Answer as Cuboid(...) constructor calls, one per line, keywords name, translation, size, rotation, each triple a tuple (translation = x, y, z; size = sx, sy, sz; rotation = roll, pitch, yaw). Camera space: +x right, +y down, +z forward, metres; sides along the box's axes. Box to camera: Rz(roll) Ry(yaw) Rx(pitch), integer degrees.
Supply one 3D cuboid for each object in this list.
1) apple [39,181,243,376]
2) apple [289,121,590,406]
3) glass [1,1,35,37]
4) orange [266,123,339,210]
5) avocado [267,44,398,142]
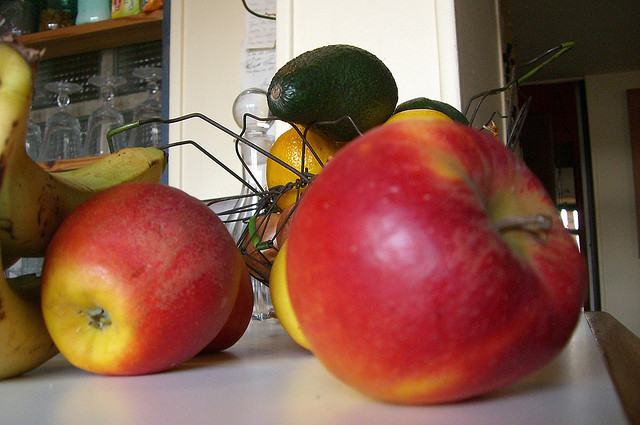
Cuboid(name="apple", translation=(-0.152, 0.046, 0.498), size=(0.127, 0.155, 0.162), rotation=(0, 5, -8))
Cuboid(name="apple", translation=(0.096, 0.032, 0.459), size=(0.192, 0.217, 0.191), rotation=(-34, 9, -15))
Cuboid(name="glass", translation=(-1.398, -0.891, 2.434), size=(0.153, 0.180, 0.135), rotation=(-1, 1, -8))
Cuboid(name="orange", translation=(-0.016, -0.044, 0.655), size=(0.086, 0.117, 0.088), rotation=(14, -10, -2))
Cuboid(name="avocado", translation=(0.019, -0.133, 0.606), size=(0.160, 0.113, 0.101), rotation=(-5, 12, -29))
